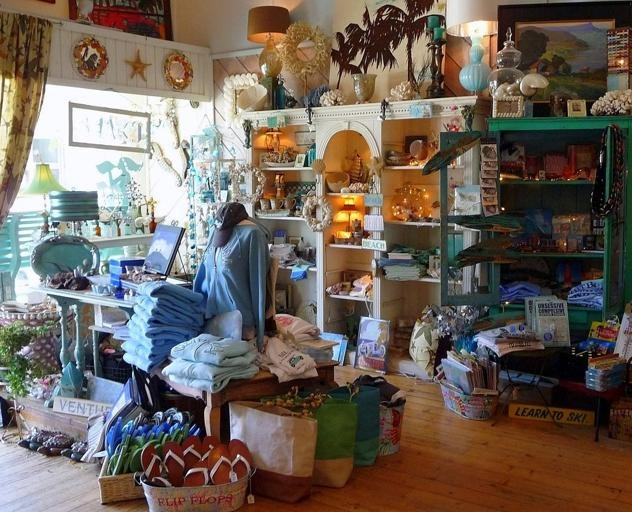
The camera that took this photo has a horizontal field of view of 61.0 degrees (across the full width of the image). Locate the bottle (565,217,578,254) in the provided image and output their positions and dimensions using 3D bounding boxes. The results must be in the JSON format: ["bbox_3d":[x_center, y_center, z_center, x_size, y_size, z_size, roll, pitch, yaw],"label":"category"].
[{"bbox_3d":[2.386,-0.208,5.036,0.129,0.294,0.123,-1,7,0],"label":"bottle"}]

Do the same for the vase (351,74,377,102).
[{"bbox_3d":[0.491,-1.739,5.633,0.250,0.286,0.264,-1,3,-10],"label":"vase"}]

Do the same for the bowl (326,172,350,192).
[{"bbox_3d":[0.247,-0.825,5.932,0.229,0.161,0.214,-1,30,0],"label":"bowl"}]

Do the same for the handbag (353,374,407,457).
[{"bbox_3d":[0.401,1.175,3.965,0.397,0.504,0.496,0,-3,-2],"label":"handbag"}]

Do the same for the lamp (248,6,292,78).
[{"bbox_3d":[-0.563,-2.388,6.043,0.404,0.753,0.514,-7,10,-40],"label":"lamp"}]

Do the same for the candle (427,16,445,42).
[{"bbox_3d":[1.164,-2.199,5.208,0.176,0.286,0.267,1,8,11],"label":"candle"}]

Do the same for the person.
[{"bbox_3d":[-0.601,0.134,3.952,0.326,1.033,0.597,-7,10,-41],"label":"person"}]

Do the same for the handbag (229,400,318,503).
[{"bbox_3d":[-0.270,1.226,3.300,0.505,0.452,0.200,4,4,29],"label":"handbag"}]
